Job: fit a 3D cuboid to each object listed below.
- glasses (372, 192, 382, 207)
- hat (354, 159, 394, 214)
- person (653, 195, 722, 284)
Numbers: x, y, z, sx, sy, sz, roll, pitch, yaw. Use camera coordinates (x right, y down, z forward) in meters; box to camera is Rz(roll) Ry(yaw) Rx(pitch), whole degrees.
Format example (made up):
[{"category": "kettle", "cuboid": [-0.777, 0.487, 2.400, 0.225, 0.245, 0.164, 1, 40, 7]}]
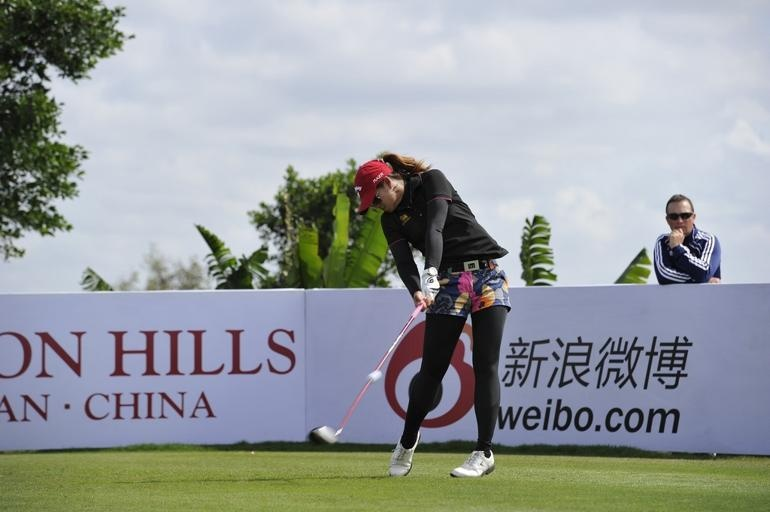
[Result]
[{"category": "glasses", "cuboid": [-0.094, -0.610, 19.474, 0.082, 0.132, 0.034, 4, 12, 4]}, {"category": "hat", "cuboid": [-0.136, -0.756, 19.461, 0.378, 0.546, 0.367, 0, -4, 11]}, {"category": "person", "cuboid": [3.395, -0.163, 21.133, 0.719, 1.076, 0.807, 3, -2, -15]}]
